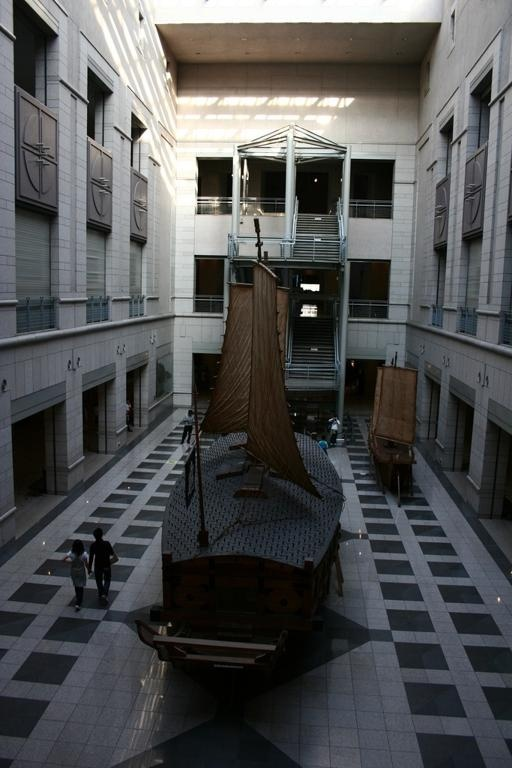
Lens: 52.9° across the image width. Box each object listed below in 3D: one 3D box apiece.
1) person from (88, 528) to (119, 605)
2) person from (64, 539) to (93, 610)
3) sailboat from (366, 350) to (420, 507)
[{"bbox_3d":[-2.286,2.621,7.619,0.377,1.258,0.882,1,3,-19],"label":"person"},{"bbox_3d":[-2.619,2.689,7.540,0.302,1.195,1.133,1,3,-20],"label":"person"},{"bbox_3d":[3.731,1.189,14.163,1.228,3.346,2.194,2,2,14],"label":"sailboat"}]
